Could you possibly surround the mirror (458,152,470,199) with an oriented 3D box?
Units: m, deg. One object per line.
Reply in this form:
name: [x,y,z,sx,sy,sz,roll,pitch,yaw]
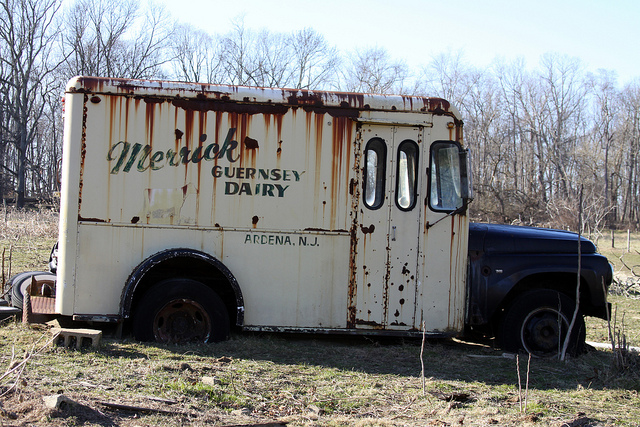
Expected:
mirror: [2.153,-0.643,9.308,0.155,0.644,0.187,-6,0,-1]
